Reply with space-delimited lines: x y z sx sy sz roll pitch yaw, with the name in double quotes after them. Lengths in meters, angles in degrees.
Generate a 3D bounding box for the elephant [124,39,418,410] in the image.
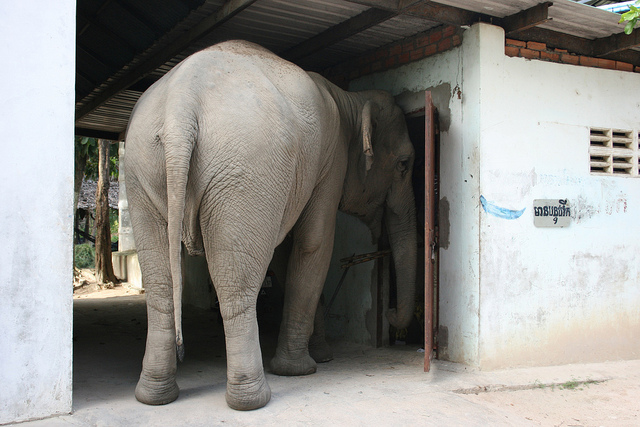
-0.268 -0.015 5.831 3.230 3.280 1.204 -2 5 -43 "elephant"

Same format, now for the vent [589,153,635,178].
3.428 -0.587 6.703 0.744 0.279 0.140 -1 4 -30 "vent"
